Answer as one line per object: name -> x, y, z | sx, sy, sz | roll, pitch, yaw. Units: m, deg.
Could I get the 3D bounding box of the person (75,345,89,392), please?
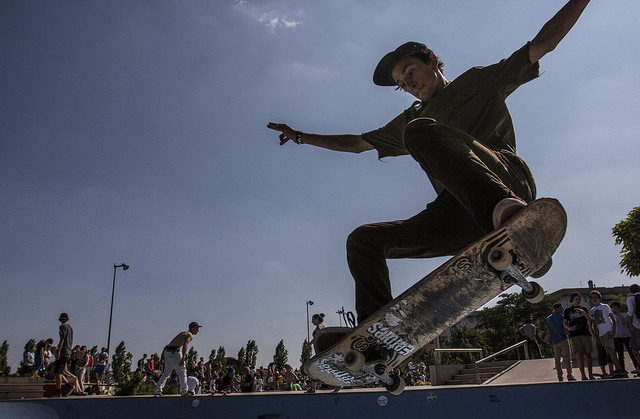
person -> -7.360, 4.878, 17.840 | 0.366, 1.451, 1.003 | 7, -25, -20

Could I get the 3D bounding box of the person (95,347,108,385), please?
person -> -7.947, 5.535, 20.958 | 0.372, 1.418, 2.105 | 6, -25, -19
